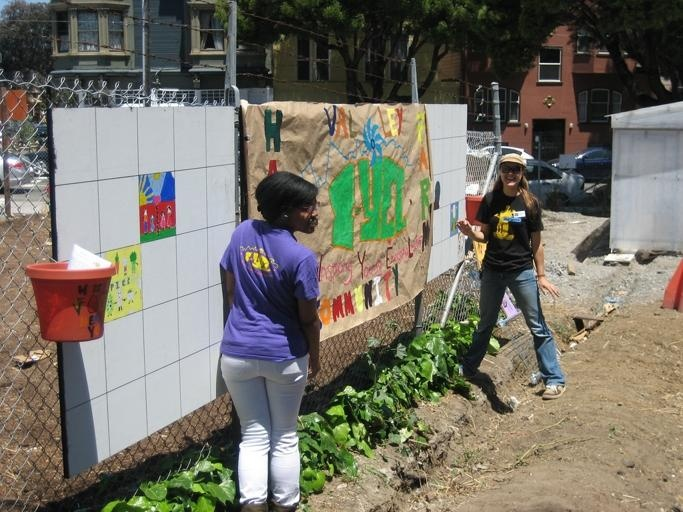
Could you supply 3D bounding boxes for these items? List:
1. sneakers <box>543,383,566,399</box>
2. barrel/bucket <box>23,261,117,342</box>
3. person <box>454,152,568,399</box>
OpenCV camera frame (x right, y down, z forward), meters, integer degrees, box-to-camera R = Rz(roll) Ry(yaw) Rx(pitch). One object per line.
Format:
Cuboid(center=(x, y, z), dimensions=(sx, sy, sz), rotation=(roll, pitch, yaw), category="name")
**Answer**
Cuboid(center=(2.194, 1.398, 6.780), dimensions=(0.104, 0.142, 0.280), rotation=(-5, -7, 30), category="sneakers")
Cuboid(center=(-1.496, 0.255, 3.715), dimensions=(0.418, 0.451, 0.415), rotation=(0, 2, 0), category="barrel/bucket")
Cuboid(center=(1.733, 0.229, 6.642), dimensions=(1.046, 2.497, 0.472), rotation=(3, 8, 12), category="person")
